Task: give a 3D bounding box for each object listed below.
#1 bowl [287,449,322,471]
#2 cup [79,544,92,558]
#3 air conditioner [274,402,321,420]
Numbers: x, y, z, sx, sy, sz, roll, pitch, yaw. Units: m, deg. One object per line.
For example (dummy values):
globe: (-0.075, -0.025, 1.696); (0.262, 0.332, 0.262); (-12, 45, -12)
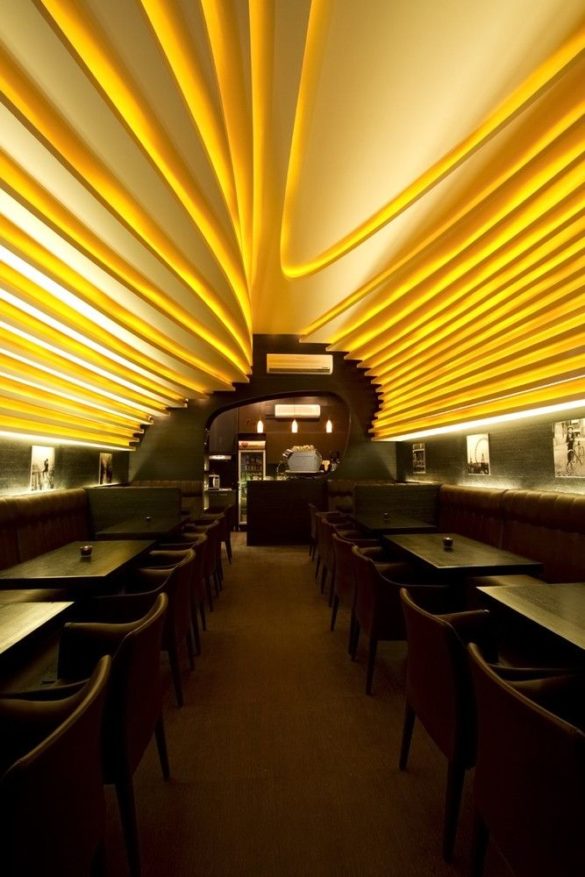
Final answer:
bowl: (0.120, 0.233, 5.879); (0.272, 0.291, 0.221); (-1, -1, -1)
cup: (-1.257, 0.677, 3.253); (0.071, 0.076, 0.071); (-2, -2, 0)
air conditioner: (0.077, -0.497, 10.054); (0.900, 0.306, 0.176); (-1, 1, -18)
